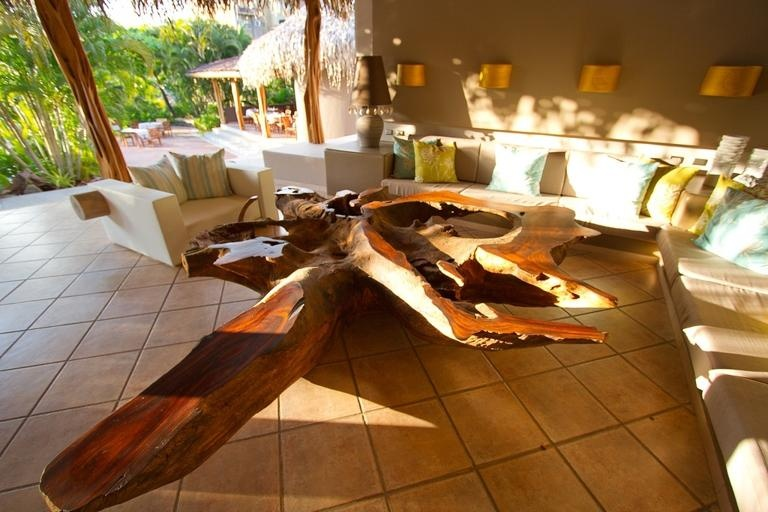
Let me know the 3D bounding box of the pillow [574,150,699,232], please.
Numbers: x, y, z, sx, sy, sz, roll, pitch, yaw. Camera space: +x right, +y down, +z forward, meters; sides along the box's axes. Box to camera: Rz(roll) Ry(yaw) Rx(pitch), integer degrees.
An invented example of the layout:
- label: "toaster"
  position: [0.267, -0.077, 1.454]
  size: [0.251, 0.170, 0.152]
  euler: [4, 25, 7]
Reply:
- label: "pillow"
  position: [2.324, -0.643, 3.930]
  size: [0.848, 0.726, 0.252]
  euler: [17, 5, 41]

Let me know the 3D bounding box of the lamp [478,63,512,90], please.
- label: "lamp"
  position: [1.336, -2.180, 4.961]
  size: [0.439, 0.277, 0.288]
  euler: [-3, 30, -3]

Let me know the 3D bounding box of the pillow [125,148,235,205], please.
- label: "pillow"
  position: [-2.035, -0.826, 4.188]
  size: [0.761, 0.666, 0.245]
  euler: [-16, 3, -28]

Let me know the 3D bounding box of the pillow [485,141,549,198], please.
- label: "pillow"
  position: [1.458, -0.930, 4.415]
  size: [0.242, 0.512, 0.604]
  euler: [-22, 34, -34]

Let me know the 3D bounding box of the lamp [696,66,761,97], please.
- label: "lamp"
  position: [3.478, -1.741, 4.061]
  size: [0.442, 0.296, 0.227]
  euler: [16, 31, 31]

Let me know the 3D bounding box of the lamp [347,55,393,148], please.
- label: "lamp"
  position: [-0.165, -2.001, 5.274]
  size: [0.472, 1.086, 0.735]
  euler: [7, 28, 14]

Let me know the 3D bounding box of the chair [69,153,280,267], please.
- label: "chair"
  position: [-2.118, -0.582, 4.183]
  size: [1.111, 0.819, 1.538]
  euler: [23, 35, 31]

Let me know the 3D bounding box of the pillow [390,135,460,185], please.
- label: "pillow"
  position: [0.491, -1.094, 4.709]
  size: [0.700, 0.413, 0.221]
  euler: [5, 22, 10]
